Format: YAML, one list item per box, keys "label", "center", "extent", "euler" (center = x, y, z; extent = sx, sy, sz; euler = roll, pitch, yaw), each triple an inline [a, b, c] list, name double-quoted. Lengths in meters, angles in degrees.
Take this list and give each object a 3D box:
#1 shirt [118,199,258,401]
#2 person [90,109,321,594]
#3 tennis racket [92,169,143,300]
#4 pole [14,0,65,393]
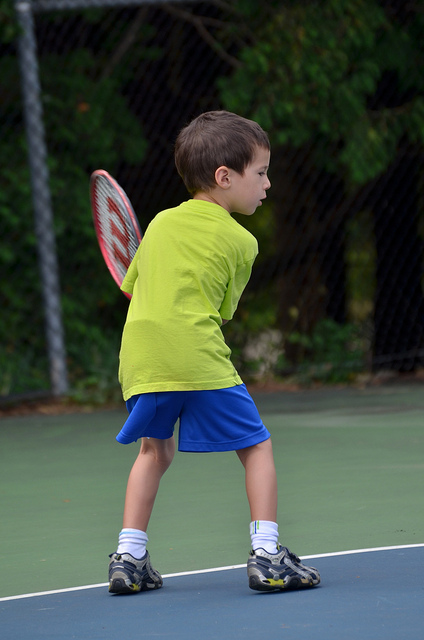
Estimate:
- label: "shirt"
  center: [-0.048, -0.047, 1.392]
  extent: [0.270, 0.395, 0.132]
  euler: [-1, -4, 3]
- label: "person"
  center: [-0.009, 0.028, 1.423]
  extent: [0.420, 0.994, 0.237]
  euler: [-2, -4, 6]
- label: "tennis racket"
  center: [-0.284, -0.258, 2.027]
  extent: [0.016, 0.351, 0.375]
  euler: [-16, 20, -22]
- label: "pole"
  center: [-0.998, -0.615, 4.182]
  extent: [0.220, 2.096, 0.745]
  euler: [-1, -4, -9]
